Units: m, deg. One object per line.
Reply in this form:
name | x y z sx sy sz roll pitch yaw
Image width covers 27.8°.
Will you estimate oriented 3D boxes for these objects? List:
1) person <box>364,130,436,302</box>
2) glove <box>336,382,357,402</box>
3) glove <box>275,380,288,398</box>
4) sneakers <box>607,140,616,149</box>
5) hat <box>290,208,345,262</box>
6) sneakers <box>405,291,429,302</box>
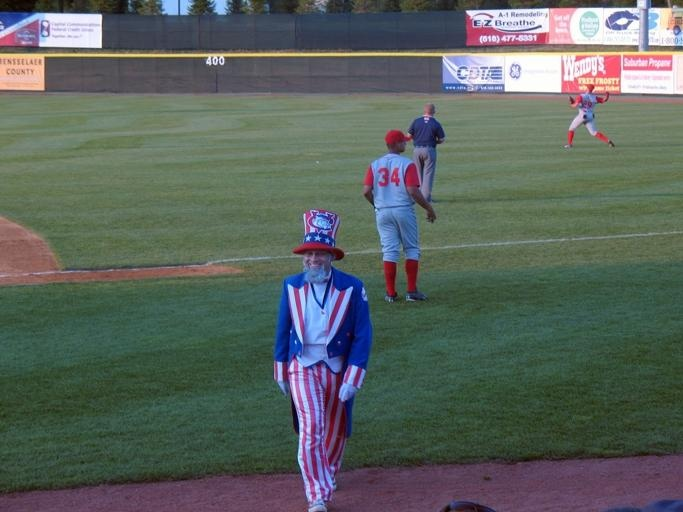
person | 1.098 -0.740 26.110 1.242 3.189 0.590 0 8 5
glove | 0.082 2.164 22.003 0.234 0.228 0.292 9 8 -14
glove | -0.920 2.127 22.305 0.268 0.273 0.307 -1 11 -18
sneakers | 7.749 -3.136 39.254 0.156 0.200 0.461 -7 21 15
hat | -0.314 -0.357 22.257 0.828 0.626 0.835 2 -10 15
sneakers | 1.439 0.768 26.134 0.416 0.181 0.155 -3 9 -14
